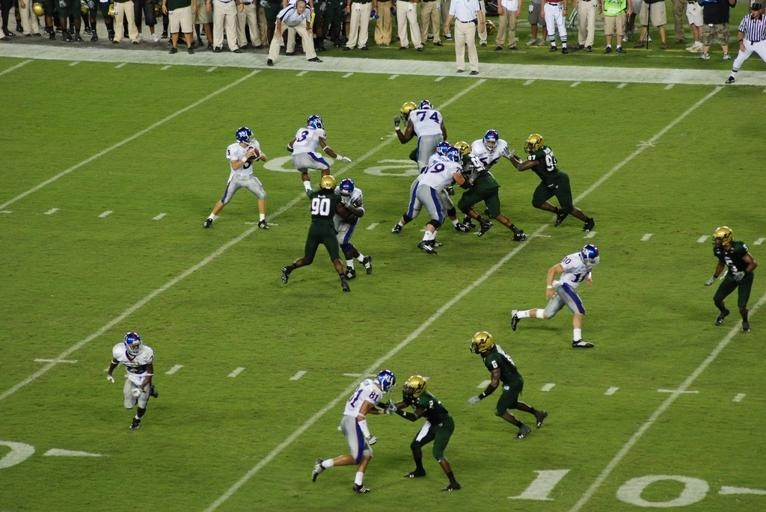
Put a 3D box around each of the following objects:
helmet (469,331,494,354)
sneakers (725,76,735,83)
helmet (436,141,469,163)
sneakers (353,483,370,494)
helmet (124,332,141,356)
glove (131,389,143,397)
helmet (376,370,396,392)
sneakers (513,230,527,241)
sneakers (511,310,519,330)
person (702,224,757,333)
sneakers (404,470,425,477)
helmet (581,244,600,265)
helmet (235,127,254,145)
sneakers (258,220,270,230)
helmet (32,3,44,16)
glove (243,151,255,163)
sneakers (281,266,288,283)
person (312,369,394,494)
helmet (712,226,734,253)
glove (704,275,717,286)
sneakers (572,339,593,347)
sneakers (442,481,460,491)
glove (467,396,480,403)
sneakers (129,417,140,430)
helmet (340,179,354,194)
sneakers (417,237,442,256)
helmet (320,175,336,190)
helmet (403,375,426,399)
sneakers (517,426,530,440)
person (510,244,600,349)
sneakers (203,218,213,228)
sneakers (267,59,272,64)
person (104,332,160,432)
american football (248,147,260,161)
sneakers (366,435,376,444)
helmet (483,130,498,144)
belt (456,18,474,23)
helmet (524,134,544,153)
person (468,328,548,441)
[{"bbox_3d":[1.144,0.999,12.466,0.249,0.284,0.283,-1,14,3],"label":"helmet"},{"bbox_3d":[7.555,-3.798,23.467,0.234,0.162,0.110,-6,15,-17],"label":"sneakers"},{"bbox_3d":[1.122,-1.663,17.136,0.524,0.303,0.305,-2,48,10],"label":"helmet"},{"bbox_3d":[-0.246,2.482,11.674,0.234,0.088,0.064,7,57,-23],"label":"sneakers"},{"bbox_3d":[-2.938,1.023,12.675,0.185,0.283,0.232,-6,15,-14],"label":"helmet"},{"bbox_3d":[-2.915,1.602,12.786,0.134,0.049,0.154,2,5,-14],"label":"glove"},{"bbox_3d":[0.022,1.356,11.830,0.184,0.268,0.365,-1,13,4],"label":"helmet"},{"bbox_3d":[2.169,-0.320,17.447,0.258,0.113,0.236,-7,8,-31],"label":"sneakers"},{"bbox_3d":[1.783,0.877,14.731,0.115,0.250,0.118,-5,33,-9],"label":"sneakers"},{"bbox_3d":[4.763,0.240,14.855,0.620,1.403,0.917,2,15,16],"label":"person"},{"bbox_3d":[0.363,2.397,11.986,0.254,0.081,0.070,2,36,4],"label":"sneakers"},{"bbox_3d":[2.710,-0.001,14.222,0.215,0.279,0.232,-1,14,5],"label":"helmet"},{"bbox_3d":[-2.173,-1.946,17.631,0.425,0.248,0.271,-3,22,-13],"label":"helmet"},{"bbox_3d":[-2.051,-0.506,18.002,0.284,0.144,0.079,4,26,5],"label":"sneakers"},{"bbox_3d":[-8.478,-6.041,26.610,0.307,0.300,0.296,3,47,-14],"label":"helmet"},{"bbox_3d":[-2.166,-1.593,17.452,0.213,0.073,0.138,-29,50,-3],"label":"glove"},{"bbox_3d":[-1.471,0.279,16.048,0.119,0.229,0.134,8,5,40],"label":"sneakers"},{"bbox_3d":[-0.352,1.885,11.766,0.847,1.262,0.585,-13,18,-35],"label":"person"},{"bbox_3d":[4.538,-0.243,14.466,0.221,0.283,0.294,1,14,11],"label":"helmet"},{"bbox_3d":[4.642,0.345,15.363,0.186,0.070,0.215,-4,-19,-7],"label":"glove"},{"bbox_3d":[2.639,1.152,14.365,0.289,0.088,0.096,0,13,5],"label":"sneakers"},{"bbox_3d":[0.702,2.485,11.720,0.245,0.080,0.067,-2,22,12],"label":"sneakers"},{"bbox_3d":[1.033,1.620,12.169,0.098,0.031,0.113,6,22,33],"label":"glove"},{"bbox_3d":[-2.942,1.962,12.835,0.120,0.157,0.073,28,31,2],"label":"sneakers"},{"bbox_3d":[-0.531,-1.018,15.782,0.218,0.196,0.225,9,-2,-1],"label":"helmet"},{"bbox_3d":[0.804,-0.145,17.089,0.504,0.204,0.135,0,41,-33],"label":"sneakers"},{"bbox_3d":[-0.815,-1.091,15.773,0.263,0.227,0.259,5,-8,-12],"label":"helmet"},{"bbox_3d":[0.395,1.372,11.650,0.315,0.194,0.189,9,35,0],"label":"helmet"},{"bbox_3d":[1.624,2.046,12.623,0.119,0.201,0.078,16,36,-22],"label":"sneakers"},{"bbox_3d":[2.347,0.463,14.648,1.187,1.350,0.855,4,16,23],"label":"person"},{"bbox_3d":[-2.908,-0.539,17.989,0.120,0.193,0.079,35,36,-20],"label":"sneakers"},{"bbox_3d":[-2.625,-4.459,24.952,0.104,0.122,0.200,-6,14,-16],"label":"sneakers"},{"bbox_3d":[-3.010,1.425,12.921,0.541,1.171,0.591,-6,15,-14],"label":"person"},{"bbox_3d":[-2.105,-1.659,17.452,0.187,0.142,0.188,5,-13,-9],"label":"american football"},{"bbox_3d":[-0.127,1.978,11.728,0.104,0.039,0.116,-6,4,-17],"label":"sneakers"},{"bbox_3d":[1.749,-1.945,17.508,0.239,0.191,0.235,2,46,-8],"label":"helmet"},{"bbox_3d":[1.844,-5.194,23.982,0.443,0.086,0.165,-2,13,-5],"label":"belt"},{"bbox_3d":[2.437,-1.806,17.462,0.244,0.291,0.344,-1,13,4],"label":"helmet"},{"bbox_3d":[1.444,1.478,12.535,0.776,1.266,1.133,3,15,20],"label":"person"}]
